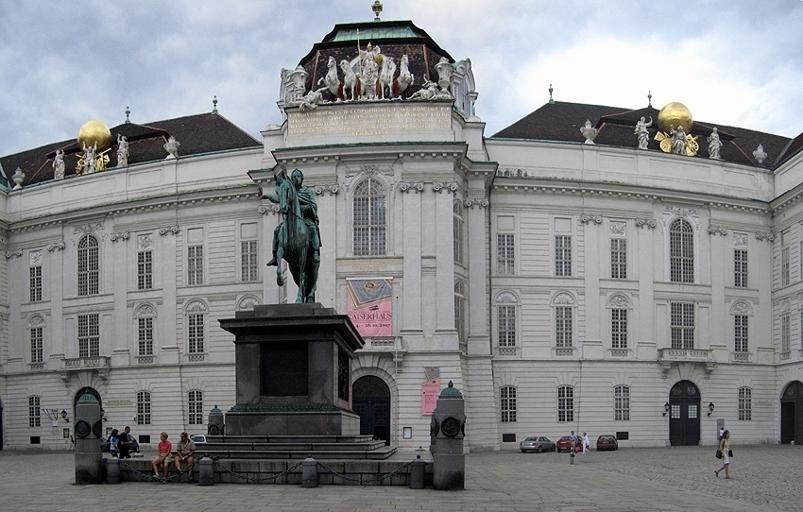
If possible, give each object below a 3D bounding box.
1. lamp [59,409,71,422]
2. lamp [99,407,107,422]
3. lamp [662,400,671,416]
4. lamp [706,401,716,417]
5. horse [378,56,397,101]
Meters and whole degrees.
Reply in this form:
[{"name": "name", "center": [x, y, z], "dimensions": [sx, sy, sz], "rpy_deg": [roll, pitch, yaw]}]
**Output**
[{"name": "lamp", "center": [-26.337, 12.681, 113.232], "dimensions": [0.867, 0.898, 1.807], "rpy_deg": [0, 5, -30]}, {"name": "lamp", "center": [-23.083, 12.437, 112.096], "dimensions": [0.380, 1.029, 0.208], "rpy_deg": [11, -17, -41]}, {"name": "lamp", "center": [20.183, 11.752, 110.272], "dimensions": [0.662, 1.142, 0.262], "rpy_deg": [6, -14, -25]}, {"name": "lamp", "center": [23.688, 11.881, 110.973], "dimensions": [0.518, 1.156, 0.785], "rpy_deg": [-5, -13, 22]}, {"name": "horse", "center": [-1.078, -13.241, 106.647], "dimensions": [1.300, 3.377, 0.661], "rpy_deg": [5, -14, -20]}]
